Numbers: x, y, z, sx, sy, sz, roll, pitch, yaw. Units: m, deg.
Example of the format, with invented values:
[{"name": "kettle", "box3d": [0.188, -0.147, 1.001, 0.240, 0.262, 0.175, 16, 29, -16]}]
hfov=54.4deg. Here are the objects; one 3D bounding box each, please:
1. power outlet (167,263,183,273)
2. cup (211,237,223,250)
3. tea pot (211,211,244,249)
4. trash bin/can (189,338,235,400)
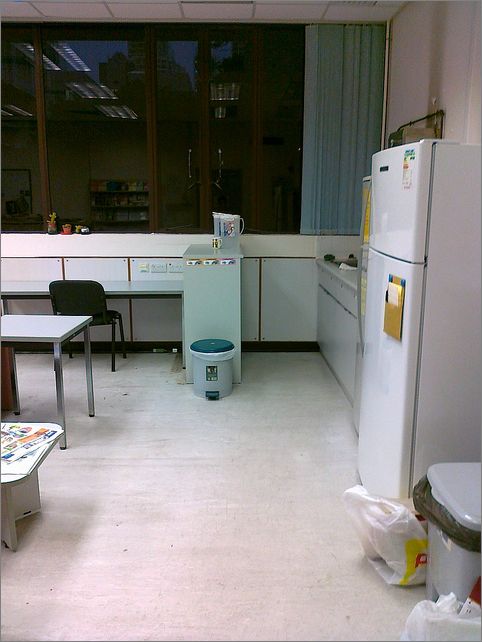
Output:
[{"name": "power outlet", "box3d": [-0.652, -0.539, 4.569, 0.136, 0.123, 0.029, 2, 9, 10]}, {"name": "cup", "box3d": [-0.200, -0.654, 3.853, 0.101, 0.126, 0.075, 1, 8, 6]}, {"name": "tea pot", "box3d": [-0.125, -0.772, 3.958, 0.297, 0.387, 0.197, 1, 11, 0]}, {"name": "trash bin/can", "box3d": [-0.220, 0.334, 3.571, 0.313, 0.424, 0.370, 0, 14, -1]}]
